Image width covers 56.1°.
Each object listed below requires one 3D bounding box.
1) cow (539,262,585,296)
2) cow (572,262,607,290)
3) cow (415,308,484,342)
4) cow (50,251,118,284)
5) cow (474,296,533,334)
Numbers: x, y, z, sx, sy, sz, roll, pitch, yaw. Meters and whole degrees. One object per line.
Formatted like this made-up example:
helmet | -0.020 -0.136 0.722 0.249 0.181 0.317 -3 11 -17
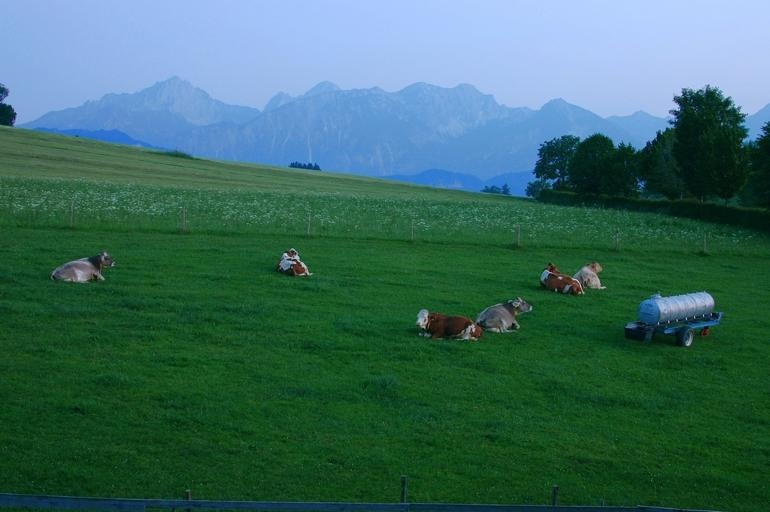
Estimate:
cow | 8.440 1.200 34.578 1.686 0.928 1.406 19 14 40
cow | 10.130 1.013 35.832 1.746 1.231 1.141 -8 12 -42
cow | 2.422 2.617 27.636 2.736 1.170 1.035 6 -4 7
cow | -13.523 0.572 32.638 0.896 1.392 2.912 -14 -4 33
cow | 4.800 2.373 28.854 1.660 0.644 1.312 -11 17 -40
